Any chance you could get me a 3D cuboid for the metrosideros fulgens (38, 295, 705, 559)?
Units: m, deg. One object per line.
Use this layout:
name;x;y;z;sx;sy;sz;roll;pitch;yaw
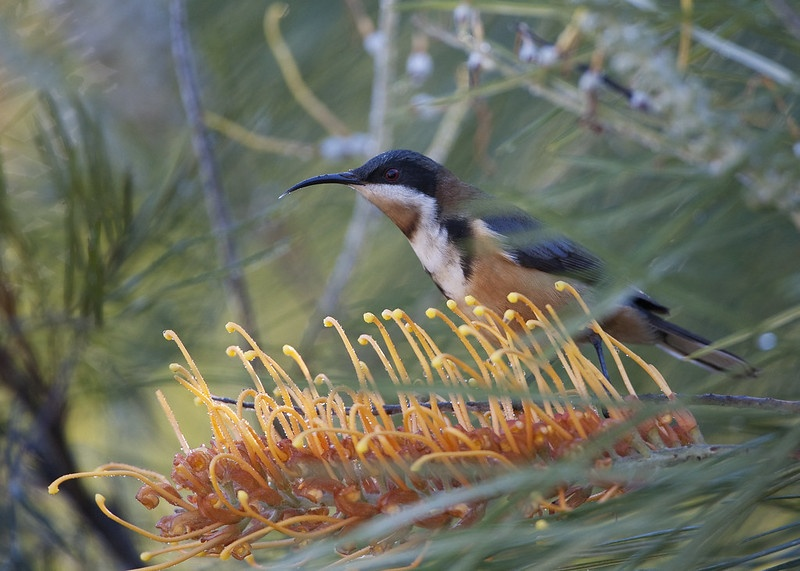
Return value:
metrosideros fulgens;-0.051;0.304;2.065;1.186;0.540;0.506;-4;1;12
